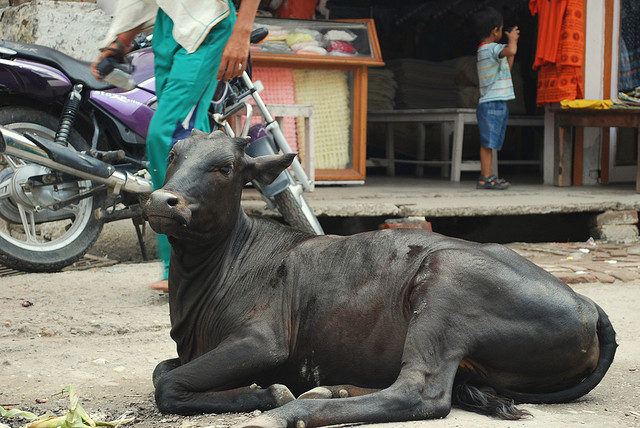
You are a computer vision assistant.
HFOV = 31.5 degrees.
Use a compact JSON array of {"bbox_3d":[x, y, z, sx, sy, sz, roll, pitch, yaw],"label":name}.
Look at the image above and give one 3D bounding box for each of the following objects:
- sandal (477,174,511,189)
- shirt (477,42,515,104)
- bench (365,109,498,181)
[{"bbox_3d":[1.774,-0.352,11.803,0.376,0.148,0.138,1,0,10],"label":"sandal"},{"bbox_3d":[1.804,-1.496,11.903,0.430,0.656,0.313,2,1,16],"label":"shirt"},{"bbox_3d":[1.160,-1.082,14.352,1.124,0.506,1.498,-3,7,-26],"label":"bench"}]
